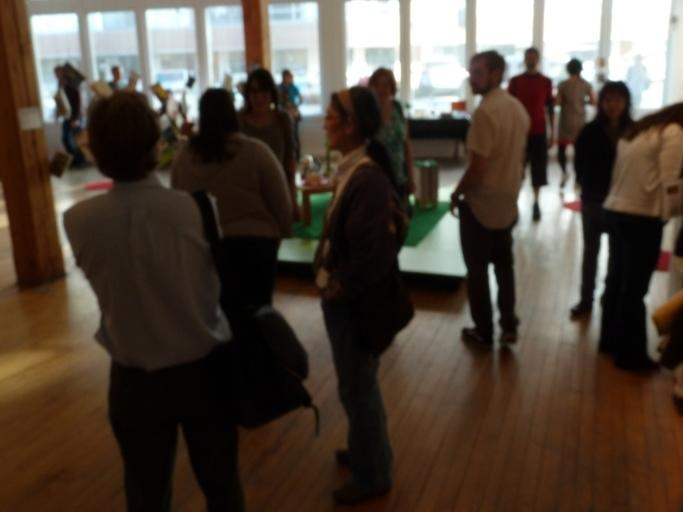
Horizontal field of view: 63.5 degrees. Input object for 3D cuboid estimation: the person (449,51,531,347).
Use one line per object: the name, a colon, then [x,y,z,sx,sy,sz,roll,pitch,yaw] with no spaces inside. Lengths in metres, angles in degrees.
person: [1.017,-0.357,3.832,0.520,2.028,0.367,1,15,7]

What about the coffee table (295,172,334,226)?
coffee table: [-0.347,-0.806,6.975,0.556,0.469,0.610,-1,26,0]

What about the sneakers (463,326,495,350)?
sneakers: [0.995,0.583,4.042,0.101,0.108,0.228,-26,44,-33]

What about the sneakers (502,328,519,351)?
sneakers: [1.206,0.598,3.956,0.087,0.166,0.155,3,7,24]
